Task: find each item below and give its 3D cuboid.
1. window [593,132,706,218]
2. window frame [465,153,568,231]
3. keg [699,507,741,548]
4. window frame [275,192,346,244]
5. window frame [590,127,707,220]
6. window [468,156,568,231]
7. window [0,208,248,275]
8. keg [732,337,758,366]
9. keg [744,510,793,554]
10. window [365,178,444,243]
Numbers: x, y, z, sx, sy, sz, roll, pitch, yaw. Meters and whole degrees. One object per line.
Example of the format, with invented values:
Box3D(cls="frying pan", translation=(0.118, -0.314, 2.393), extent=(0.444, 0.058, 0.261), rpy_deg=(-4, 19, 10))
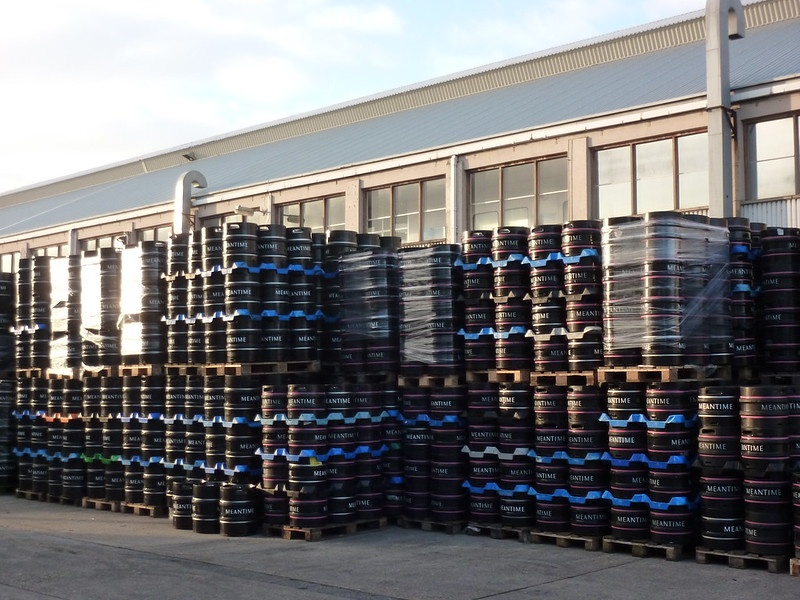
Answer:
Box3D(cls="window", translation=(5.146, -2.510, 31.663), extent=(0.177, 1.590, 3.017), rpy_deg=(0, 0, -41))
Box3D(cls="window frame", translation=(2.561, -2.343, 33.374), extent=(2.658, 1.220, 0.177), rpy_deg=(2, 4, 38))
Box3D(cls="keg", translation=(5.069, 3.743, 25.417), extent=(0.687, 0.492, 0.594), rpy_deg=(1, -2, -3))
Box3D(cls="window frame", translation=(-1.917, -1.837, 34.636), extent=(2.071, 0.877, 0.158), rpy_deg=(1, 0, 35))
Box3D(cls="window frame", translation=(5.111, -2.493, 31.731), extent=(3.233, 1.630, 0.169), rpy_deg=(-13, 16, -37))
Box3D(cls="window", translation=(2.483, -2.339, 33.927), extent=(0.089, 1.386, 2.804), rpy_deg=(-21, 10, -30))
Box3D(cls="window", translation=(-6.324, -1.380, 36.351), extent=(10.254, 0.862, 0.438), rpy_deg=(-1, 12, 36))
Box3D(cls="keg", translation=(5.816, 0.893, 26.608), extent=(0.585, 0.415, 0.482), rpy_deg=(0, -3, 0))
Box3D(cls="keg", translation=(5.808, 3.755, 25.134), extent=(0.790, 0.548, 0.749), rpy_deg=(0, -1, 36))
Box3D(cls="window", translation=(-0.009, -2.131, 35.991), extent=(0.140, 1.445, 3.113), rpy_deg=(-23, 16, -32))
